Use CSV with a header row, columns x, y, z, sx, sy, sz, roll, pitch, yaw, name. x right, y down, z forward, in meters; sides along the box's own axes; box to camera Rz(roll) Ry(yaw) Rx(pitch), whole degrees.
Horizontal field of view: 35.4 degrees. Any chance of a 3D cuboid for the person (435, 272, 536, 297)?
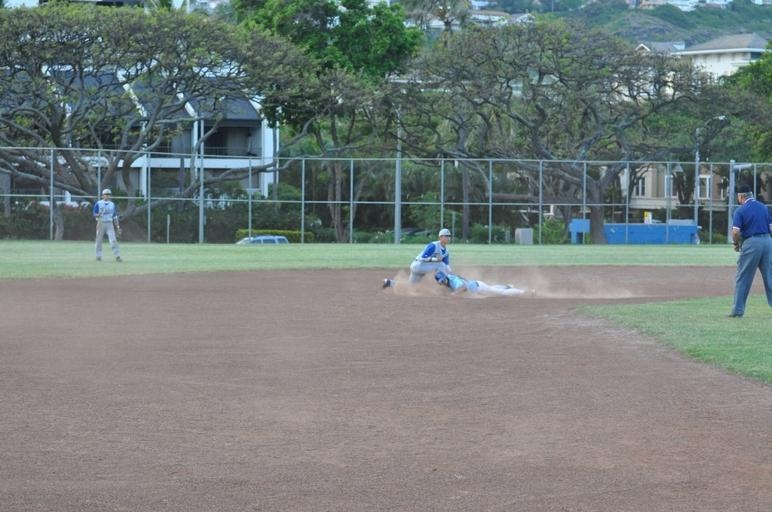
x,y,z,sx,sy,sz,roll,pitch,yaw,name
2.769,0.807,36.279,2.515,0.613,0.675,2,14,7,person
